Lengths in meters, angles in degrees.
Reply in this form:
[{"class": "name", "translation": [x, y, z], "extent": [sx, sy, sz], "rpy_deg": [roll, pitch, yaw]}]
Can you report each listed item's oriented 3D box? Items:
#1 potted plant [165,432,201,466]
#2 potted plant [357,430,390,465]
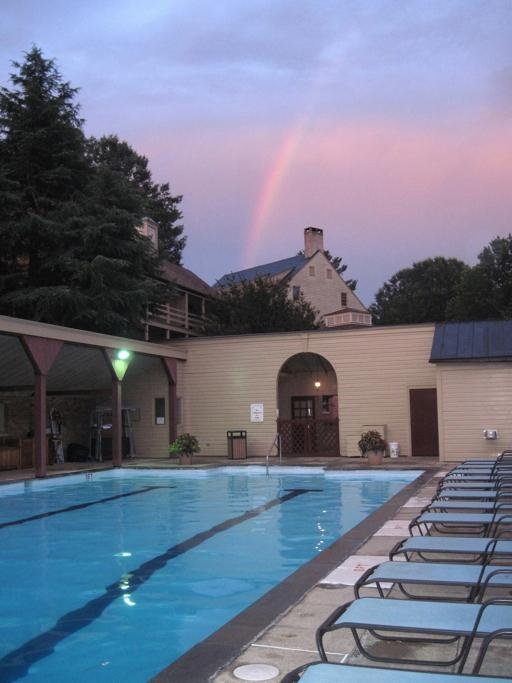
[{"class": "potted plant", "translation": [-2.077, 2.895, 17.279], "extent": [1.008, 1.012, 1.005], "rpy_deg": [1, -5, 21]}, {"class": "potted plant", "translation": [2.914, 2.684, 16.139], "extent": [0.800, 0.774, 0.792], "rpy_deg": [-1, 2, -19]}]
